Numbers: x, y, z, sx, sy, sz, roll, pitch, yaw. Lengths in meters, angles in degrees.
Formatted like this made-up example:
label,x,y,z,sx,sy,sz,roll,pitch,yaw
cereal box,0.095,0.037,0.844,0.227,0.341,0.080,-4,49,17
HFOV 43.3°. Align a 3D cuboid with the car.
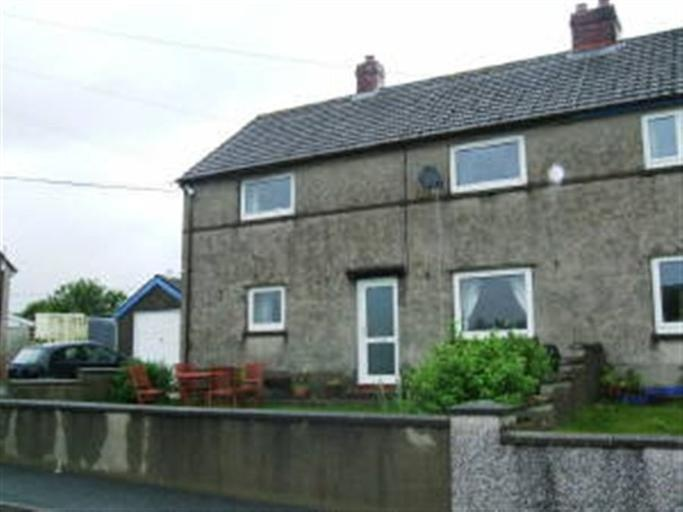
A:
label,x,y,z,sx,sy,sz,roll,pitch,yaw
car,-6.687,2.482,20.778,0.767,0.901,2.869,-5,-9,34
